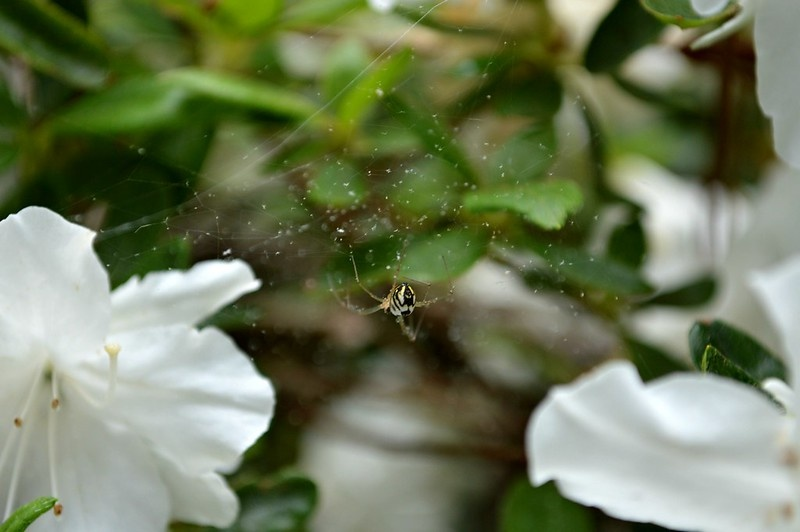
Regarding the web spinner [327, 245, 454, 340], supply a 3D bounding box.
[{"bbox_3d":[-0.001,0.033,0.983,0.102,0.112,0.034,-17,42,3],"label":"web spinner"}]
